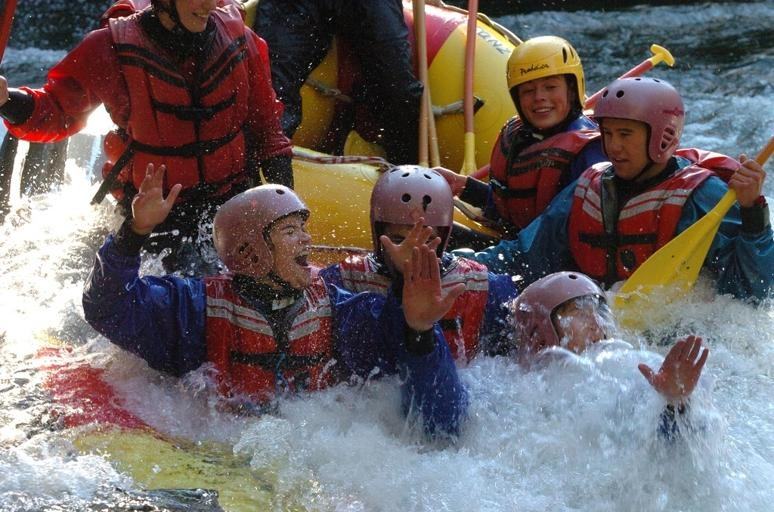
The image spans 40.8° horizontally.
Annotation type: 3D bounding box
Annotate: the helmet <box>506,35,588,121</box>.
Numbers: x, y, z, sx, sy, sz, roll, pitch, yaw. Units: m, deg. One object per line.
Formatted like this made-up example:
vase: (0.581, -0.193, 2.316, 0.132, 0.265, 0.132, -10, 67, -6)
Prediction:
helmet: (1.118, -1.299, 7.309, 0.402, 0.493, 0.563, -6, 24, 19)

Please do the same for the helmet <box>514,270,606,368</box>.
helmet: (1.003, 0.409, 6.062, 0.583, 0.586, 0.475, -17, -27, 40)

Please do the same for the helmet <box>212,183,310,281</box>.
helmet: (-0.724, -0.163, 5.929, 0.575, 0.481, 0.439, -12, 2, 7)
